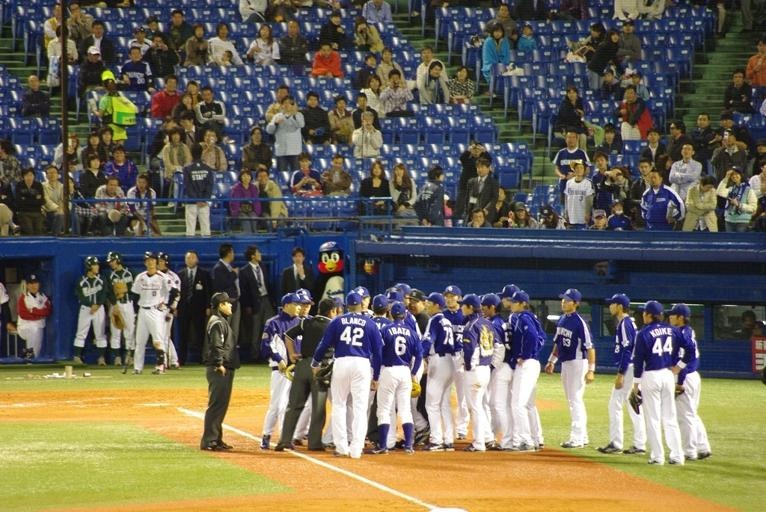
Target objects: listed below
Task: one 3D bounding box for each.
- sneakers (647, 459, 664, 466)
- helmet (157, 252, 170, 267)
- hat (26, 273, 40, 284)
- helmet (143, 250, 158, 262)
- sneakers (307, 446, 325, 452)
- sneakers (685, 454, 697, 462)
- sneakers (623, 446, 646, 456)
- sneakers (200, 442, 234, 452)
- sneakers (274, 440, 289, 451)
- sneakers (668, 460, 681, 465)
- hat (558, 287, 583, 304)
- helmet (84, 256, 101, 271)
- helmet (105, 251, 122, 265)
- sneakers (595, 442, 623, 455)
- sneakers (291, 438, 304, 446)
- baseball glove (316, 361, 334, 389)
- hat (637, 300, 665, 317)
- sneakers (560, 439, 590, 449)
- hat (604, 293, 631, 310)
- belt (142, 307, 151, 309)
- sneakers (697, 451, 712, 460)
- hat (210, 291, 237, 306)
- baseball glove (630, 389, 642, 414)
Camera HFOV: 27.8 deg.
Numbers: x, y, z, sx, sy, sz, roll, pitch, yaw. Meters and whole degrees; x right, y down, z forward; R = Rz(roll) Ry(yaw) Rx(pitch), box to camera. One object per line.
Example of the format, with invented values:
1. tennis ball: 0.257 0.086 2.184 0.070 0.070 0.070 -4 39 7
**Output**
1. sneakers: 5.518 4.189 31.359 0.279 0.124 0.106 -1 3 11
2. helmet: -5.647 0.112 39.568 0.253 0.300 0.327 1 -21 6
3. hat: -9.205 0.618 40.660 0.369 0.266 0.502 3 -6 -13
4. helmet: -5.887 -0.040 39.283 0.250 0.353 0.269 -4 -26 -11
5. sneakers: -1.368 3.991 32.061 0.343 0.112 0.161 3 -6 -17
6. sneakers: 6.267 4.137 31.634 0.287 0.129 0.100 -2 5 4
7. sneakers: 5.176 4.027 31.983 0.468 0.210 0.177 2 8 4
8. sneakers: -3.428 3.958 31.924 0.640 0.273 0.228 -4 3 6
9. sneakers: -2.120 3.954 32.009 0.338 0.153 0.126 4 0 45
10. sneakers: 5.908 4.165 31.321 0.273 0.125 0.095 -1 4 13
11. hat: 3.995 0.854 32.572 0.531 0.325 0.386 10 1 -4
12. helmet: -7.593 0.222 40.448 0.384 0.389 0.301 -2 6 -4
13. helmet: -7.035 0.101 40.429 0.369 0.310 0.280 -25 34 -35
14. sneakers: 4.672 3.979 31.986 0.556 0.271 0.210 3 2 7
15. sneakers: -1.790 3.895 32.421 0.115 0.126 0.199 -4 -9 37
16. baseball glove: -1.177 2.425 31.542 0.484 0.392 0.381 5 -21 -8
17. hat: 5.449 1.102 31.535 0.431 0.263 0.308 14 17 33
18. sneakers: 3.995 3.924 32.284 0.566 0.241 0.211 3 2 -7
19. hat: 4.924 0.927 32.242 0.597 0.361 0.415 14 9 16
20. belt: -5.948 1.335 39.053 0.153 0.059 0.018 1 -5 2
21. sneakers: 6.617 4.088 31.725 0.350 0.174 0.173 5 -6 -29
22. hat: -3.341 0.902 32.081 0.411 0.288 0.608 2 -6 -8
23. baseball glove: 5.089 2.917 31.284 0.143 0.293 0.408 -6 -38 -10
